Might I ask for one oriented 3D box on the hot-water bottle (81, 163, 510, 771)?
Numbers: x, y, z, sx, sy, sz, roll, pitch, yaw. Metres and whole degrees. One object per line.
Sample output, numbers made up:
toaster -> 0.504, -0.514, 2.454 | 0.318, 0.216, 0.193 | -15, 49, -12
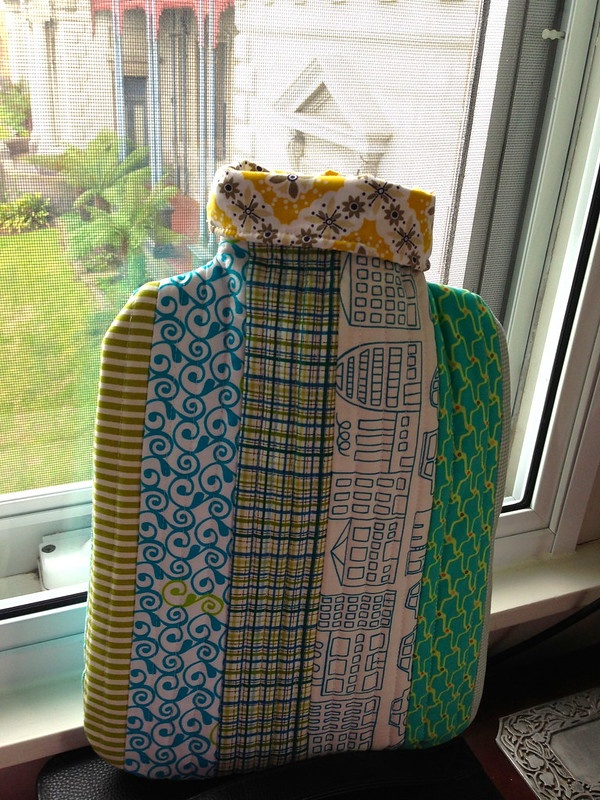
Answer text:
hot-water bottle -> 0.001, 0.112, 0.764 | 0.423, 0.503, 0.222 | -4, 32, -15
